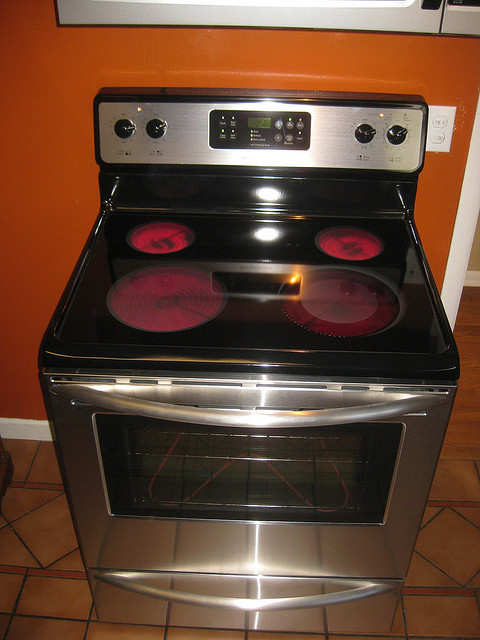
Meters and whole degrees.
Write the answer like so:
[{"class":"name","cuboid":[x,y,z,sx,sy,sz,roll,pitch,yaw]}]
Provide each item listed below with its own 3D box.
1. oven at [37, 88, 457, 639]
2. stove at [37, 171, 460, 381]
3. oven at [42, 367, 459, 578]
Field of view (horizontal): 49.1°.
[{"class":"oven","cuboid":[0.028,0.085,1.190,0.760,1.060,0.631,1,30,2]},{"class":"stove","cuboid":[0.020,-0.127,1.052,0.763,0.205,0.575,1,29,2]},{"class":"oven","cuboid":[0.008,0.293,1.135,0.710,0.500,0.477,2,44,3]}]
